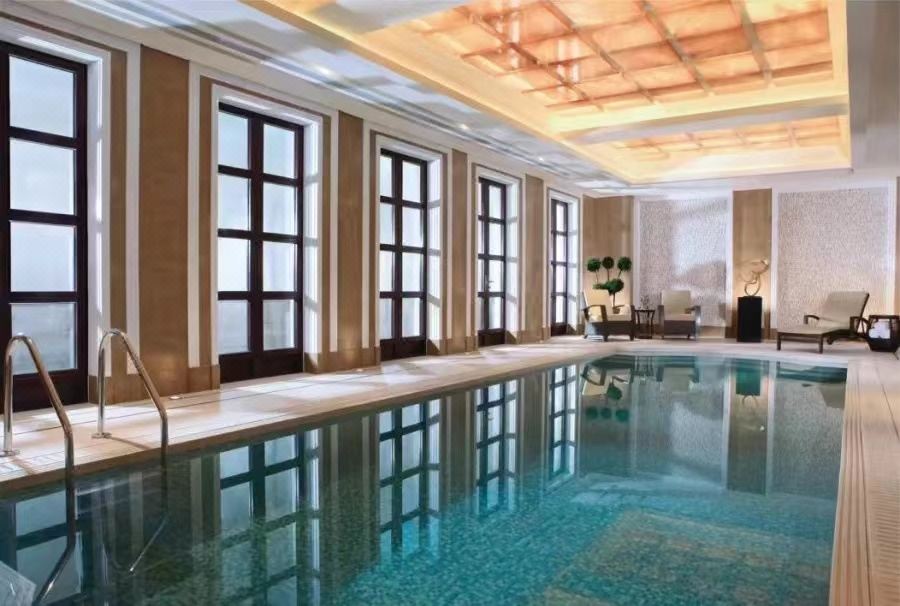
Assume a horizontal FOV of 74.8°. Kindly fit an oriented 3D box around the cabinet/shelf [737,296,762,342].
[{"bbox_3d":[6.667,0.343,13.074,0.499,1.004,0.433,3,15,15],"label":"cabinet/shelf"}]

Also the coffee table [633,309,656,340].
[{"bbox_3d":[4.831,0.507,14.628,0.861,0.723,0.771,-1,0,14],"label":"coffee table"}]

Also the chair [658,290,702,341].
[{"bbox_3d":[5.269,0.234,13.462,1.129,1.218,1.288,-2,-7,25],"label":"chair"}]

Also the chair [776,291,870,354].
[{"bbox_3d":[7.232,0.367,11.487,2.173,1.082,1.354,1,-2,-33],"label":"chair"}]
